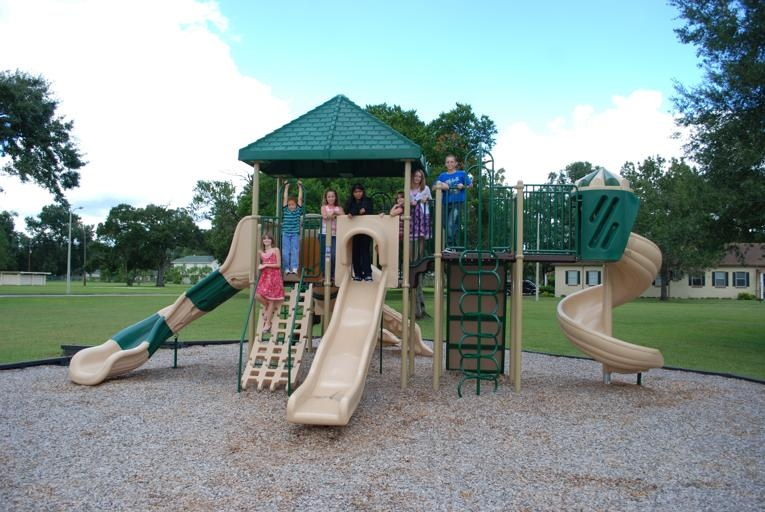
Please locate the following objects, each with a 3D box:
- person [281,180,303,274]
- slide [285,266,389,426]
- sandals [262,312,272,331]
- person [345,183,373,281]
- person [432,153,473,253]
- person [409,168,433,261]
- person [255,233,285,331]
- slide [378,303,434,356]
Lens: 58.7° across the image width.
[{"bbox_3d":[-2.247,-0.581,16.891,0.513,1.442,0.355,1,0,2],"label":"person"},{"bbox_3d":[-0.828,1.917,15.255,1.226,1.326,5.253,2,23,11],"label":"slide"},{"bbox_3d":[-2.795,1.594,16.598,0.144,0.510,0.206,1,-41,-3],"label":"sandals"},{"bbox_3d":[-0.557,-0.579,16.573,0.633,1.654,0.444,1,0,-1],"label":"person"},{"bbox_3d":[1.746,-1.304,16.676,0.812,1.878,0.937,1,0,6],"label":"person"},{"bbox_3d":[0.948,-1.061,16.798,0.528,1.719,0.729,1,0,-2],"label":"person"},{"bbox_3d":[-2.729,0.664,16.634,0.712,2.403,0.448,1,0,-9],"label":"person"},{"bbox_3d":[0.705,2.266,19.938,1.602,0.522,1.250,15,16,-24],"label":"slide"}]
